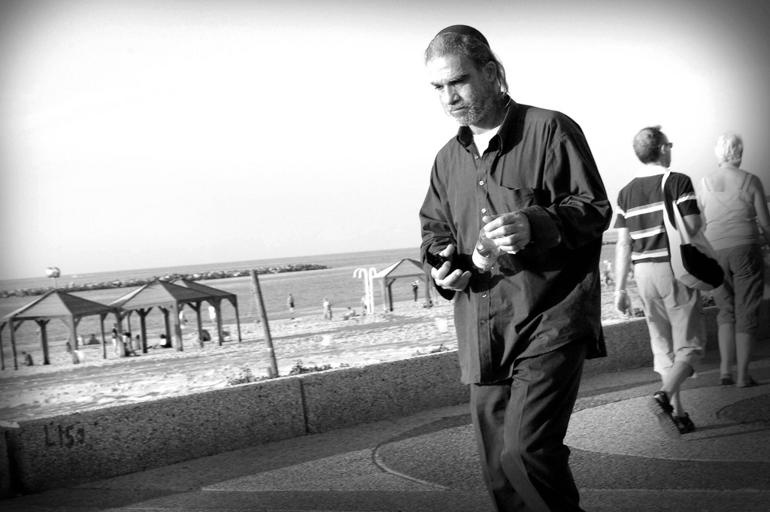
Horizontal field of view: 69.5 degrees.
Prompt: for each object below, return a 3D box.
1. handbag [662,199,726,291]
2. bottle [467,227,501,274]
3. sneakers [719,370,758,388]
[{"bbox_3d":[2.918,-0.129,5.210,0.464,0.911,0.196,-5,3,-4],"label":"handbag"},{"bbox_3d":[0.521,-0.027,2.832,0.089,0.071,0.246,-18,-22,6],"label":"bottle"},{"bbox_3d":[4.194,1.436,6.526,0.484,0.113,0.164,3,-5,-31],"label":"sneakers"}]
